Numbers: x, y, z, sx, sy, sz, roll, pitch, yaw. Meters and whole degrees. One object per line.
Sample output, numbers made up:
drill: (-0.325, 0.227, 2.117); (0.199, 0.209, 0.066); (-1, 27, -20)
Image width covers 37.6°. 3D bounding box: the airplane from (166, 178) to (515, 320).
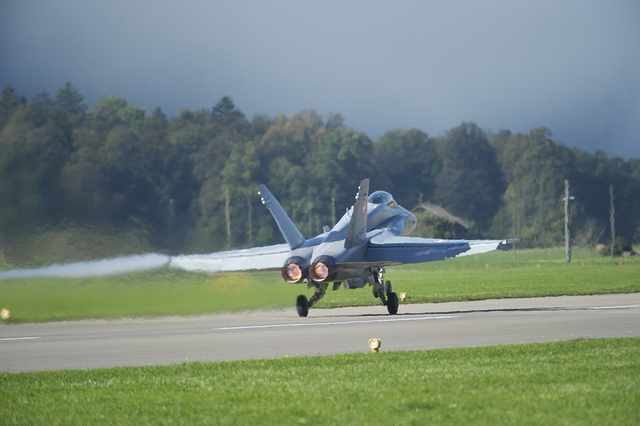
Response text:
airplane: (1.036, 1.494, 46.103); (13.052, 7.650, 7.479); (-3, 12, -8)
